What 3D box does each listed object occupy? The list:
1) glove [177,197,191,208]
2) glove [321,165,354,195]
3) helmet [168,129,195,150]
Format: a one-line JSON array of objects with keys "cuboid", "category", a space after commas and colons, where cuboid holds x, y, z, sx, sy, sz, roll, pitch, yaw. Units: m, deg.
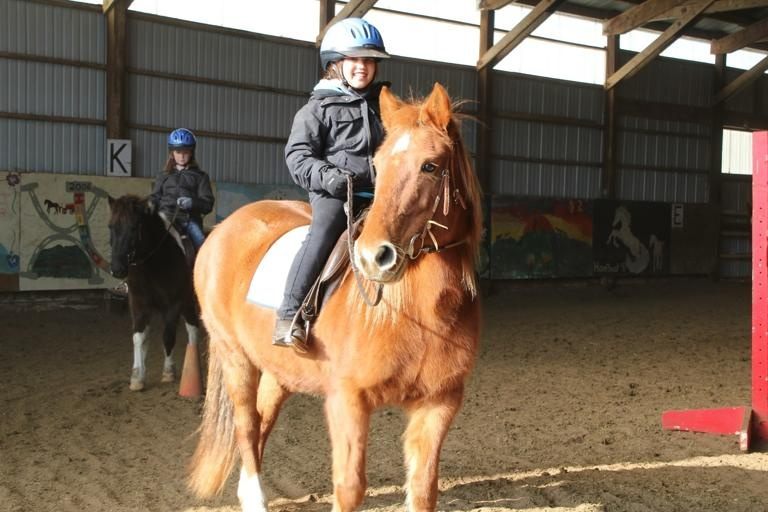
[{"cuboid": [-2.746, -0.730, 10.832, 0.070, 0.150, 0.158, 13, -24, -43], "category": "glove"}, {"cuboid": [-0.520, -0.837, 8.627, 0.220, 0.307, 0.329, 10, 29, 2], "category": "glove"}, {"cuboid": [-2.791, -1.619, 10.886, 0.233, 0.394, 0.326, 2, 15, 4], "category": "helmet"}]
